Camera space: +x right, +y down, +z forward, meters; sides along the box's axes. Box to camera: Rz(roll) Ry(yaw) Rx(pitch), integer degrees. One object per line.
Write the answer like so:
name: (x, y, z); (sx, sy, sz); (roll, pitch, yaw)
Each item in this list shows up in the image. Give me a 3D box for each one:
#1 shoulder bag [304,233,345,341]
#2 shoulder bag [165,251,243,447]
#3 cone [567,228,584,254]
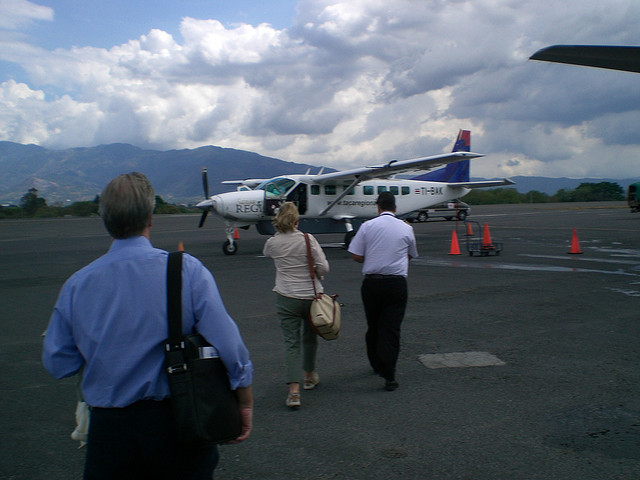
shoulder bag: (0.037, 0.524, 4.735); (0.287, 0.920, 0.382); (-3, 11, 1)
shoulder bag: (-0.609, 0.548, 2.379); (0.310, 0.949, 0.278); (-5, 12, -7)
cone: (8.113, -0.012, 15.001); (0.448, 0.761, 1.527); (2, 9, 27)
